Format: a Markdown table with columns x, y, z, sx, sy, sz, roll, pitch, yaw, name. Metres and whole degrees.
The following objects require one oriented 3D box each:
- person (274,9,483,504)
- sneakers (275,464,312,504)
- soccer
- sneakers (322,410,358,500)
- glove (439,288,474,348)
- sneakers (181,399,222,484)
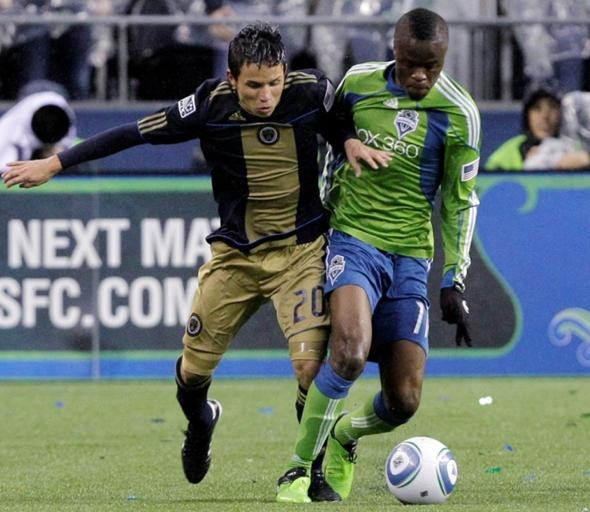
| x | y | z | sx | sy | sz | roll | pitch | yaw | name |
| --- | --- | --- | --- | --- | --- | --- | --- | --- | --- |
| 0.498 | -0.022 | 5.316 | 0.953 | 2.611 | 0.714 | 1 | 5 | 11 | person |
| -0.002 | 1.194 | 5.209 | 0.178 | 0.170 | 0.188 | 0 | 5 | -1 | sneakers |
| 0.692 | 1.169 | 5.280 | 0.302 | 0.337 | 0.332 | -4 | 38 | 23 | soccer |
| 0.267 | 1.120 | 5.503 | 0.157 | 0.392 | 0.129 | -25 | -24 | 26 | sneakers |
| 0.886 | 0.330 | 5.454 | 0.170 | 0.346 | 0.271 | 1 | 5 | 8 | glove |
| -0.521 | 1.076 | 5.667 | 0.154 | 0.498 | 0.190 | 6 | 0 | 24 | sneakers |
